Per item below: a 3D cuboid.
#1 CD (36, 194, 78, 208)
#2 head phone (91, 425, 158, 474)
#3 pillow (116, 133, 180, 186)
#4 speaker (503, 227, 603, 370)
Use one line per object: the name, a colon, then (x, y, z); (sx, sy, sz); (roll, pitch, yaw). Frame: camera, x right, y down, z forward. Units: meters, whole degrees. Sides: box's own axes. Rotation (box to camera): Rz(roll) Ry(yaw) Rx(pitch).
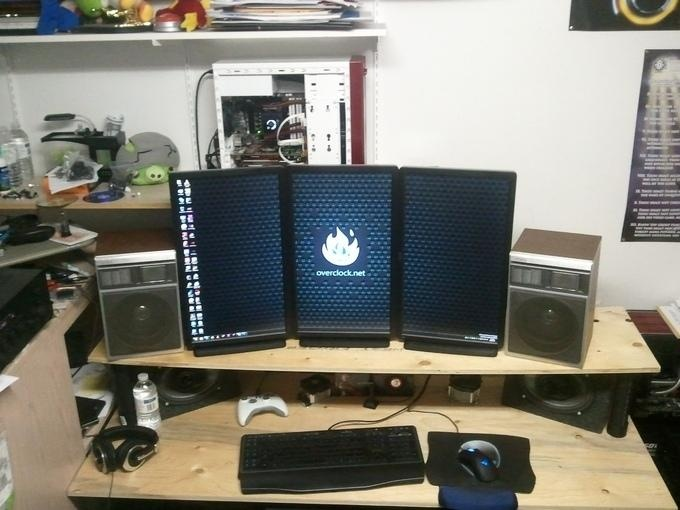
CD: (-0.966, -0.179, 1.930); (0.160, 0.037, 0.091); (3, 17, 12)
head phone: (-0.701, 0.651, 1.886); (0.199, 0.082, 0.193); (-8, 0, -24)
pillow: (-0.731, -0.376, 2.157); (0.234, 0.185, 0.223); (-9, 23, -17)
speaker: (0.705, 0.138, 1.877); (0.259, 0.380, 0.262); (7, 19, 24)
